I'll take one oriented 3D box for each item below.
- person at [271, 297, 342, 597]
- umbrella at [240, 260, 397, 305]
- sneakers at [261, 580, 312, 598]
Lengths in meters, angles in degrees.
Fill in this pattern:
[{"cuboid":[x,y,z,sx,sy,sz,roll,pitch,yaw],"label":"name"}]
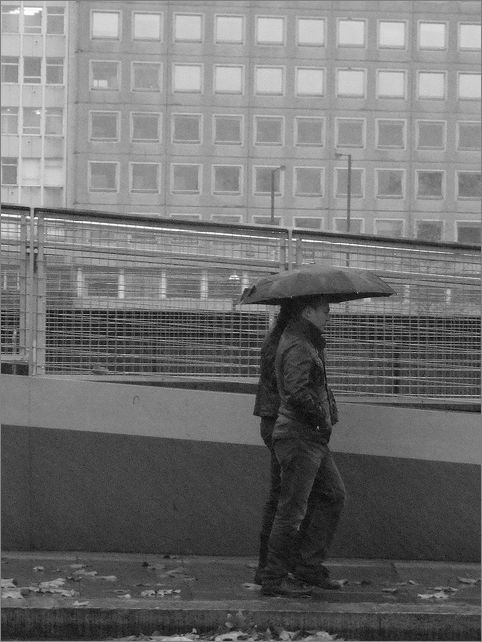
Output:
[{"cuboid":[0.526,1.100,16.022,0.575,2.660,0.801,-2,-8,30],"label":"person"},{"cuboid":[0.645,-0.378,16.170,1.340,0.444,0.723,4,-8,0],"label":"umbrella"},{"cuboid":[0.368,2.324,15.846,0.402,0.256,0.180,-3,-4,2],"label":"sneakers"}]
